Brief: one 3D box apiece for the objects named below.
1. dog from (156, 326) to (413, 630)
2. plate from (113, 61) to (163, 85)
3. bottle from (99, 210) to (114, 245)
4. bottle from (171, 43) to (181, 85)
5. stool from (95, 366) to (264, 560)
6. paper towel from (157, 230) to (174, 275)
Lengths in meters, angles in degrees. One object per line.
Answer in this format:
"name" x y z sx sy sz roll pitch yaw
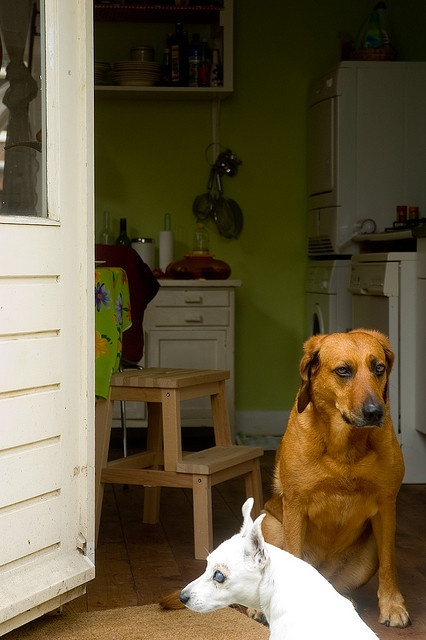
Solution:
"dog" 0.202 0.399 1.399 0.510 0.558 0.790 4 -16 -4
"plate" -0.466 -1.489 3.334 0.178 0.077 0.180 0 9 -1
"bottle" -0.681 -0.591 3.604 0.086 0.242 0.188 0 -4 -10
"bottle" -0.233 -1.567 3.437 0.057 0.208 0.072 0 -4 -4
"stool" -0.080 0.341 1.965 0.551 0.649 0.695 0 2 11
"paper towel" -0.294 -0.427 3.532 0.078 0.245 0.063 0 -4 -9
